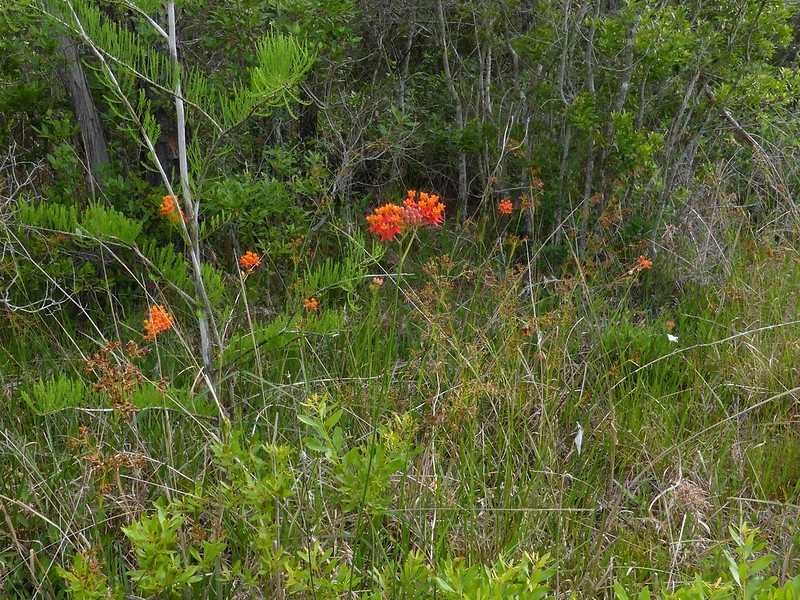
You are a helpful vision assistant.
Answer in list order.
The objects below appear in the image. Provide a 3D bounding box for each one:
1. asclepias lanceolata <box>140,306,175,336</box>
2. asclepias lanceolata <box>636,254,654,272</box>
[{"bbox_3d":[-1.135,0.106,3.245,0.091,0.133,0.096,-12,28,-32],"label":"asclepias lanceolata"},{"bbox_3d":[1.561,-0.234,4.399,0.089,0.093,0.089,-46,39,-4],"label":"asclepias lanceolata"}]
